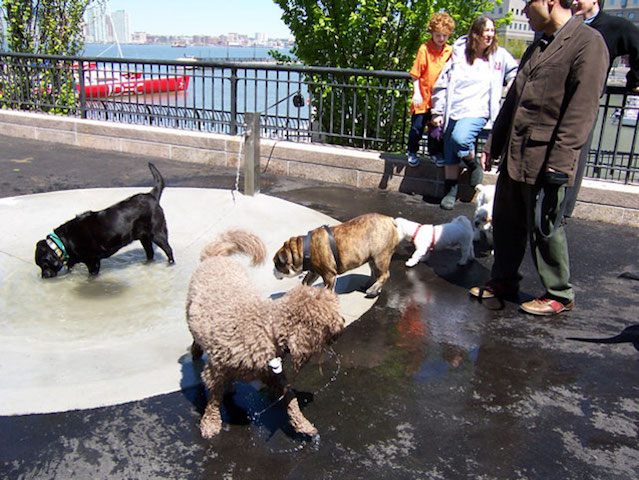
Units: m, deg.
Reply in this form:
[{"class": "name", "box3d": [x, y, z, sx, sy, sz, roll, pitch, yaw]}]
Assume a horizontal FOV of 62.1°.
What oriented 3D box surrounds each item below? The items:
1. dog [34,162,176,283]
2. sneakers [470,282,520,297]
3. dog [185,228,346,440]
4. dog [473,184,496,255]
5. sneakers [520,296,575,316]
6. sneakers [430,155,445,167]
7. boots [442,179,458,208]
[{"class": "dog", "box3d": [-2.294, -0.014, 5.793, 1.654, 1.036, 0.485, -30, 37, -33]}, {"class": "sneakers", "box3d": [1.804, 0.516, 5.484, 0.490, 0.151, 0.189, 5, 3, -2]}, {"class": "dog", "box3d": [-0.389, 0.660, 3.709, 1.087, 1.306, 0.713, 2, 16, 3]}, {"class": "dog", "box3d": [2.071, -0.267, 6.669, 0.269, 0.818, 0.550, 4, 4, -7]}, {"class": "sneakers", "box3d": [2.203, 0.640, 5.116, 0.441, 0.207, 0.211, 1, 4, -2]}, {"class": "sneakers", "box3d": [1.866, -1.257, 8.344, 0.094, 0.119, 0.258, -21, 29, -25]}, {"class": "boots", "box3d": [1.958, -0.690, 7.932, 0.167, 0.328, 0.550, 5, 20, 20]}]
